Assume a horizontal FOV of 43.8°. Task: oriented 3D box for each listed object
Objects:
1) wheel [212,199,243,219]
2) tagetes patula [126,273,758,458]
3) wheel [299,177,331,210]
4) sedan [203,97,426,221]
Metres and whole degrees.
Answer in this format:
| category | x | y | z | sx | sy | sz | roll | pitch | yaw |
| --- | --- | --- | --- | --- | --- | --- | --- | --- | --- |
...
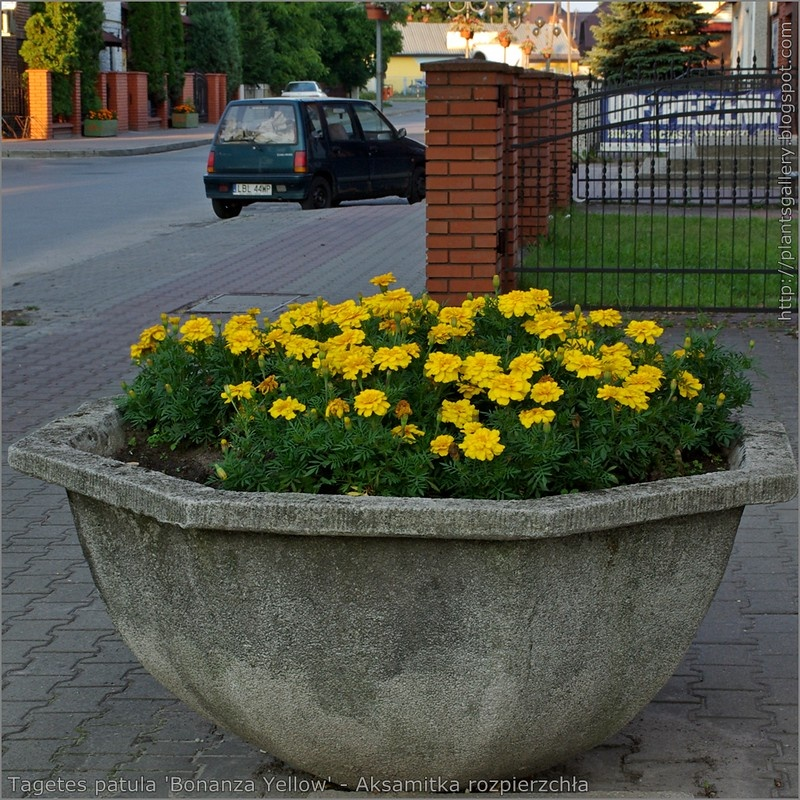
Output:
| category | x | y | z | sx | sy | sz | roll | pitch | yaw |
| --- | --- | --- | --- | --- | --- | --- | --- | --- | --- |
| wheel | -3.216 | -3.546 | 18.474 | 0.222 | 0.496 | 0.586 | 9 | 17 | 31 |
| tagetes patula | 0.121 | -0.067 | 3.135 | 1.387 | 0.417 | 0.946 | -1 | 3 | -9 |
| wheel | -1.575 | -3.769 | 18.095 | 0.271 | 0.618 | 0.751 | 5 | 8 | 38 |
| sedan | -1.579 | -4.554 | 18.620 | 3.689 | 2.089 | 1.645 | -17 | 22 | -41 |
